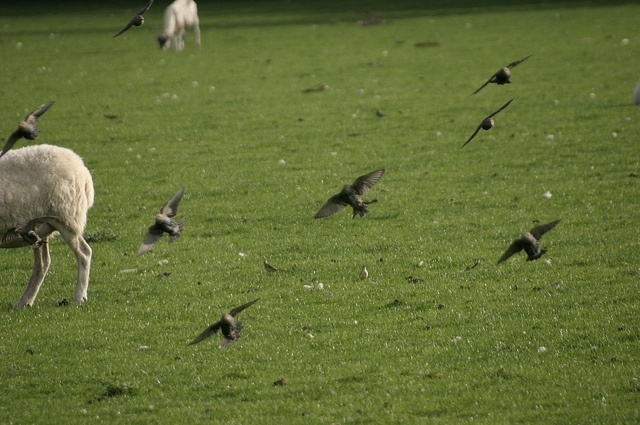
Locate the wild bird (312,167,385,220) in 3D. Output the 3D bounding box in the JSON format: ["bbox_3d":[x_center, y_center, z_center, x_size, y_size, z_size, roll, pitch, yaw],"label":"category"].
[{"bbox_3d":[1.075,-0.605,48.865,2.277,1.528,0.933,-12,24,-19],"label":"wild bird"}]
